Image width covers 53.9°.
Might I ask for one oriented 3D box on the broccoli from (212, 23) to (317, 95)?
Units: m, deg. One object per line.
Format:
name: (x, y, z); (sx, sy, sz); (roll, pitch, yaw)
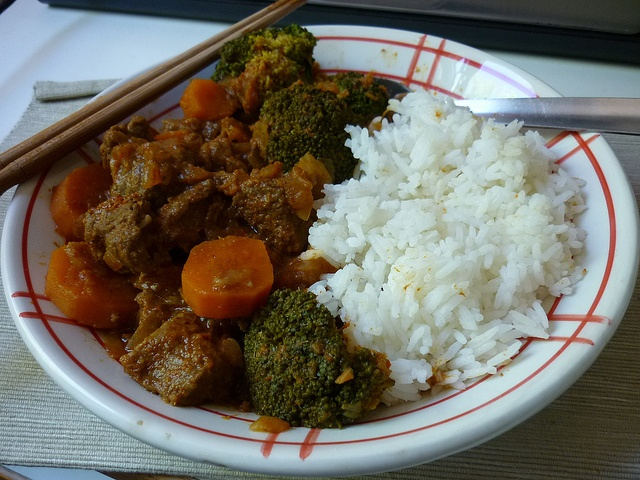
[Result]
broccoli: (-0.284, -0.989, 3.524); (0.517, 0.423, 0.394); (-15, -68, -40)

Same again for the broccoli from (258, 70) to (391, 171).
broccoli: (-0.005, -0.732, 3.550); (0.543, 0.870, 0.470); (-125, 33, -66)
